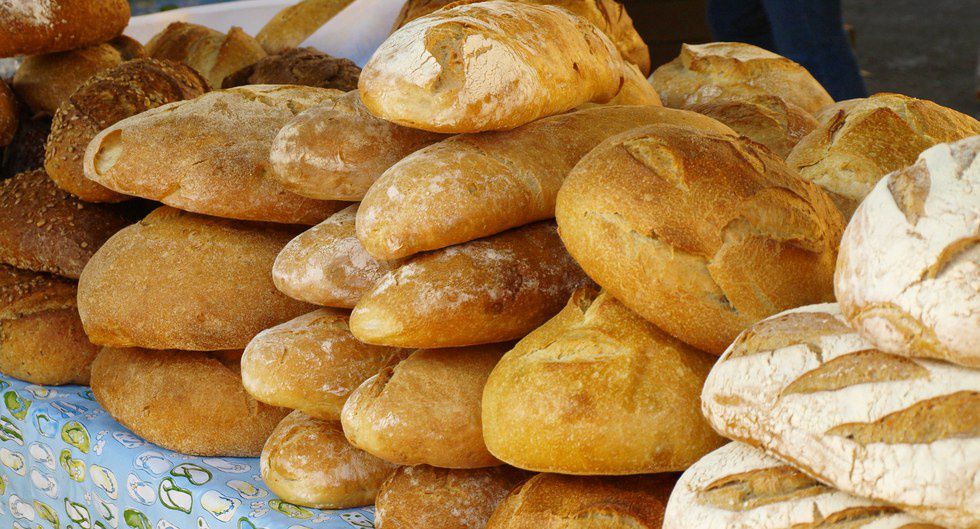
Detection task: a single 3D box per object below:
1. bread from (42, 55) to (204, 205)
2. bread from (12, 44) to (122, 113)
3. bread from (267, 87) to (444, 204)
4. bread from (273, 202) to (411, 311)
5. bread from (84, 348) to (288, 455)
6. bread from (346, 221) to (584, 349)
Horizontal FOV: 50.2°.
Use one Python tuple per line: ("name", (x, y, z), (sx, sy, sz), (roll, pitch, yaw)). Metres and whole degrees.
("bread", (-0.816, -0.304, 2.503), (0.397, 0.135, 0.285), (-38, 56, -24))
("bread", (-1.069, -0.477, 2.657), (0.229, 0.063, 0.186), (-9, 62, -6))
("bread", (-0.282, -0.232, 2.152), (0.363, 0.180, 0.105), (-13, 103, -37))
("bread", (-0.272, -0.022, 2.176), (0.260, 0.089, 0.183), (-40, 31, -28))
("bread", (-0.686, 0.296, 2.327), (0.352, 0.240, 0.098), (6, 98, -8))
("bread", (-0.031, 0.074, 2.080), (0.464, 0.136, 0.191), (-18, 52, -27))
